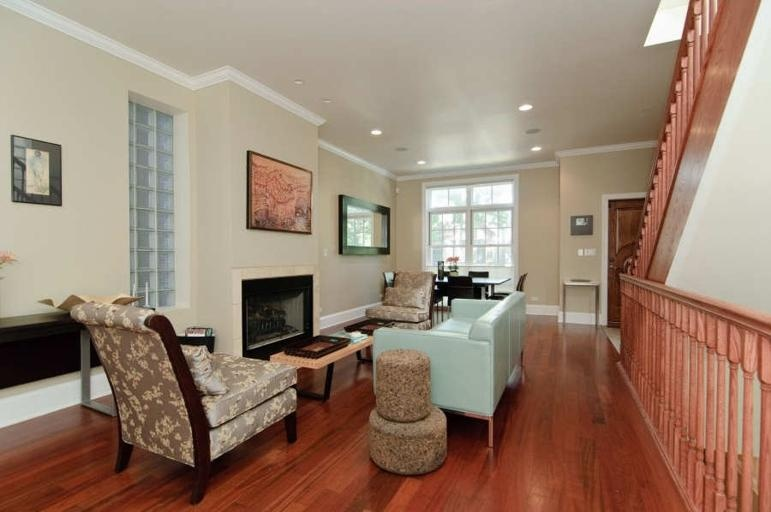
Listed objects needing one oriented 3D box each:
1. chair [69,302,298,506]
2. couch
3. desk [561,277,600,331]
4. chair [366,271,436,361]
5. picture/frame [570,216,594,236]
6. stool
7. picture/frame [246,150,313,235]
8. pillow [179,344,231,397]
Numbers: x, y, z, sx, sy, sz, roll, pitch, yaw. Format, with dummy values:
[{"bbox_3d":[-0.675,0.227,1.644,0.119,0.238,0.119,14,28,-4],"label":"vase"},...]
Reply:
[{"bbox_3d":[-1.563,1.031,4.181,1.117,1.361,1.513,2,4,26],"label":"chair"},{"bbox_3d":[0.831,1.024,5.252,1.007,0.914,2.127,4,3,22],"label":"couch"},{"bbox_3d":[3.216,0.780,8.195,0.720,0.727,0.742,-1,-4,27],"label":"desk"},{"bbox_3d":[0.244,0.676,6.987,0.857,0.751,0.827,2,11,14],"label":"chair"},{"bbox_3d":[3.206,-0.495,8.038,0.327,0.325,0.034,1,-4,34],"label":"picture/frame"},{"bbox_3d":[0.195,1.259,4.205,0.827,0.908,0.819,0,-2,-2],"label":"stool"},{"bbox_3d":[-1.312,-0.770,5.988,0.040,0.829,1.134,1,2,30],"label":"picture/frame"},{"bbox_3d":[-1.382,0.885,3.779,0.169,0.383,0.130,-34,0,26],"label":"pillow"}]
